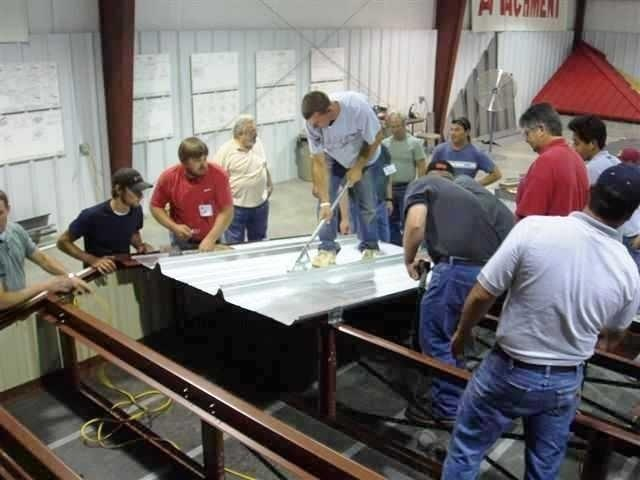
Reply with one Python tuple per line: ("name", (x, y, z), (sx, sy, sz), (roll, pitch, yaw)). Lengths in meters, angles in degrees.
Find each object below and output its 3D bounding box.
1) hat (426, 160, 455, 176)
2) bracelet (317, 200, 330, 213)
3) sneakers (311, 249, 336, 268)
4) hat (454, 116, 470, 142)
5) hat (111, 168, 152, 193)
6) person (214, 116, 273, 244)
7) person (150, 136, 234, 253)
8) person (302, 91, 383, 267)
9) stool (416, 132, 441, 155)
("hat", (0.709, -0.428, 3.033), (0.075, 0.121, 0.093), (-11, 16, -24))
("bracelet", (0.024, -0.238, 3.673), (0.040, 0.071, 0.080), (10, 4, 7))
("sneakers", (0.033, 0.139, 3.703), (0.075, 0.161, 0.229), (-11, -17, 35))
("hat", (1.206, -0.935, 4.355), (0.122, 0.194, 0.253), (15, 24, 42))
("hat", (-1.278, -0.391, 3.488), (0.213, 0.123, 0.145), (-8, 25, -10))
("person", (-0.621, -0.306, 4.323), (0.466, 1.312, 0.320), (-15, 31, -29))
("person", (-0.928, -0.323, 3.748), (0.485, 0.843, 0.428), (9, 20, 30))
("person", (0.142, -0.450, 3.747), (0.712, 1.226, 0.327), (-15, 22, -36))
("stool", (0.970, -0.863, 4.567), (0.191, 0.175, 0.152), (-5, 21, -14))
